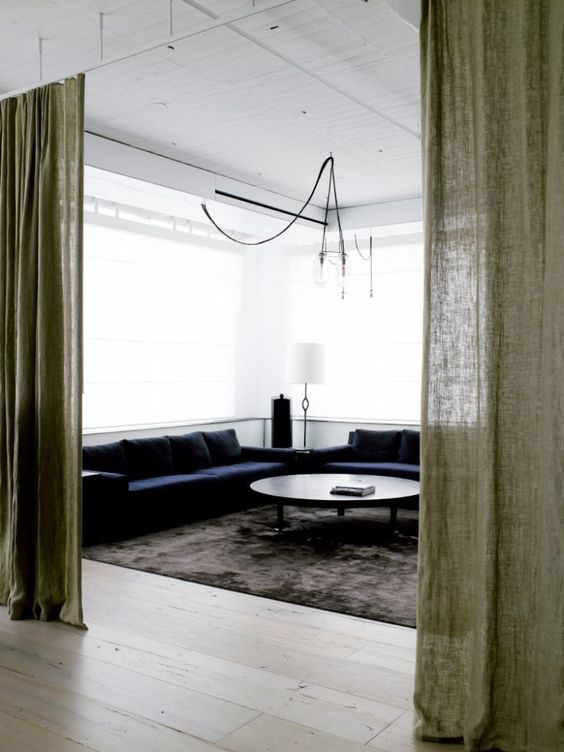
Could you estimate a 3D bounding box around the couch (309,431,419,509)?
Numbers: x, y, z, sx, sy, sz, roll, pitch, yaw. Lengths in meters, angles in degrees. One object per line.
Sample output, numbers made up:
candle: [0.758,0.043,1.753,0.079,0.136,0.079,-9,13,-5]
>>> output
couch: [1.186,1.008,7.168,0.781,0.854,1.734,4,-6,-41]

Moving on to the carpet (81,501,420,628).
carpet: [0.022,1.337,5.177,2.537,0.044,3.071,-1,-3,21]
